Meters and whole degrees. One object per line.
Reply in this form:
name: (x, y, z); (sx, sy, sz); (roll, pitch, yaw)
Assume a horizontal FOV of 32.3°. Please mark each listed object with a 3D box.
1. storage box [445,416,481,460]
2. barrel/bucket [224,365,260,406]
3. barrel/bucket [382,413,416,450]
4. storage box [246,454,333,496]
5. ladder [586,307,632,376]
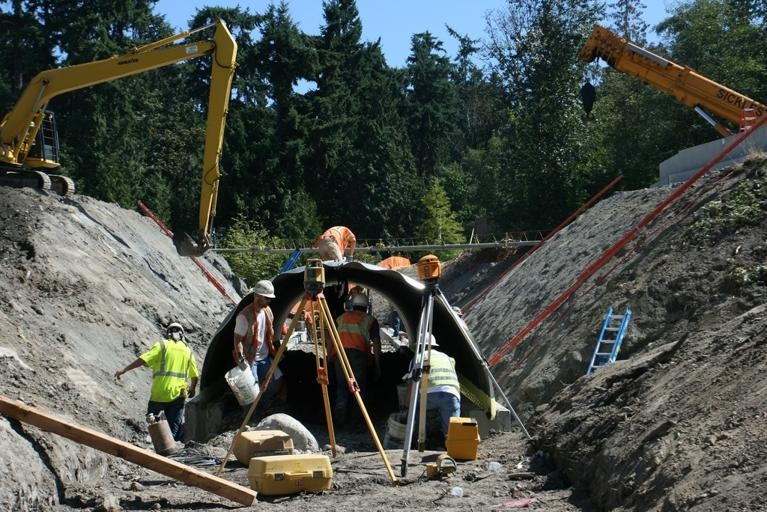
storage box: (2.099, 5.060, 35.722); (0.884, 0.912, 0.848); (7, -14, -7)
barrel/bucket: (-3.887, 3.635, 36.866); (0.765, 0.811, 0.734); (-28, 16, 8)
barrel/bucket: (0.397, 4.872, 36.673); (0.858, 0.909, 0.812); (2, -4, 0)
storage box: (-2.408, 5.767, 34.558); (2.121, 1.027, 0.532); (0, -7, -10)
ladder: (6.356, 2.426, 37.293); (1.095, 2.000, 1.074); (-1, -3, -3)
